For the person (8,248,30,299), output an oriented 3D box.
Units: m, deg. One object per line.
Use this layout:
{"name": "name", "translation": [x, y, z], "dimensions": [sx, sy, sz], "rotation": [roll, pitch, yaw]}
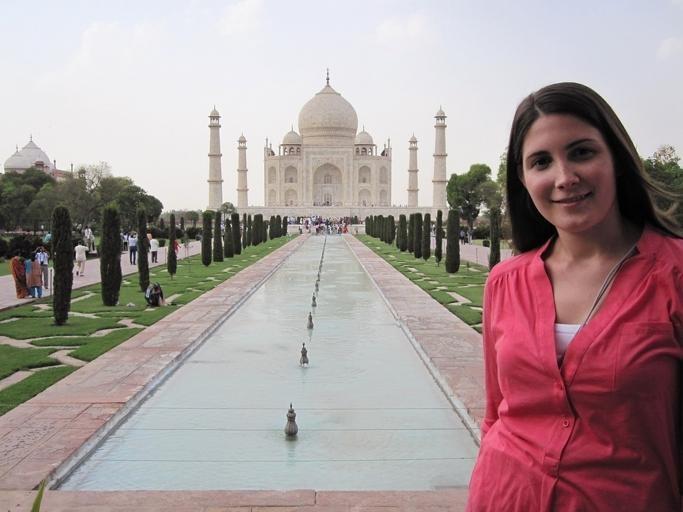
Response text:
{"name": "person", "translation": [-5.703, 0.330, 10.617], "dimensions": [0.250, 0.753, 0.901], "rotation": [-2, 5, -28]}
